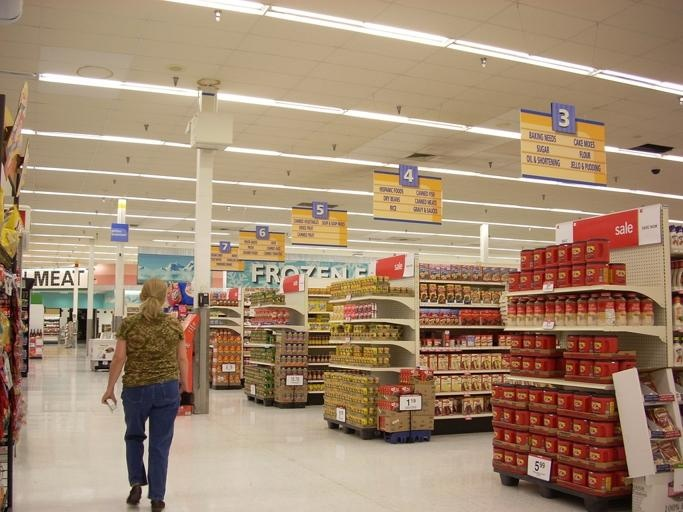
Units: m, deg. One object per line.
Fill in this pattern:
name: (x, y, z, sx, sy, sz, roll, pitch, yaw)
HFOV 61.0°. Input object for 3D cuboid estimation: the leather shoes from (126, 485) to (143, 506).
leather shoes: (-1.904, 2.208, 5.335, 0.115, 0.095, 0.239, 1, -16, -11)

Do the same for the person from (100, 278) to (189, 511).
person: (-1.762, 1.243, 5.266, 0.732, 2.100, 0.540, 3, -8, -15)

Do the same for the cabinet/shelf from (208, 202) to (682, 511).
cabinet/shelf: (2.235, 1.243, 8.176, 2.773, 2.917, 5.662, 5, -8, -31)
